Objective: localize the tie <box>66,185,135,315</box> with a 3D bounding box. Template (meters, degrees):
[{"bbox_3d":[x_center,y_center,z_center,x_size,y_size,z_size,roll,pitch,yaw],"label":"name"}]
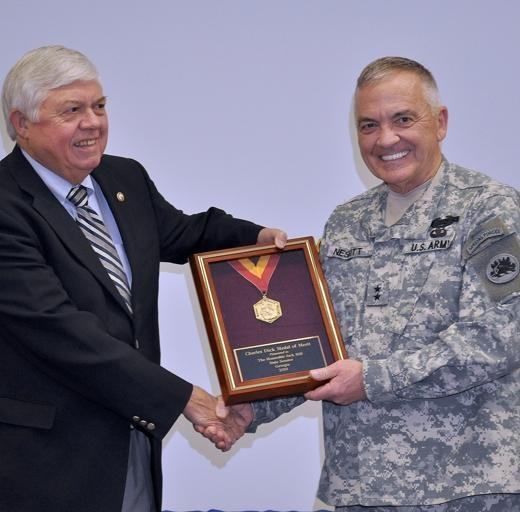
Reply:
[{"bbox_3d":[-0.601,-0.060,2.164,0.154,0.712,0.121,-18,-35,-25],"label":"tie"}]
